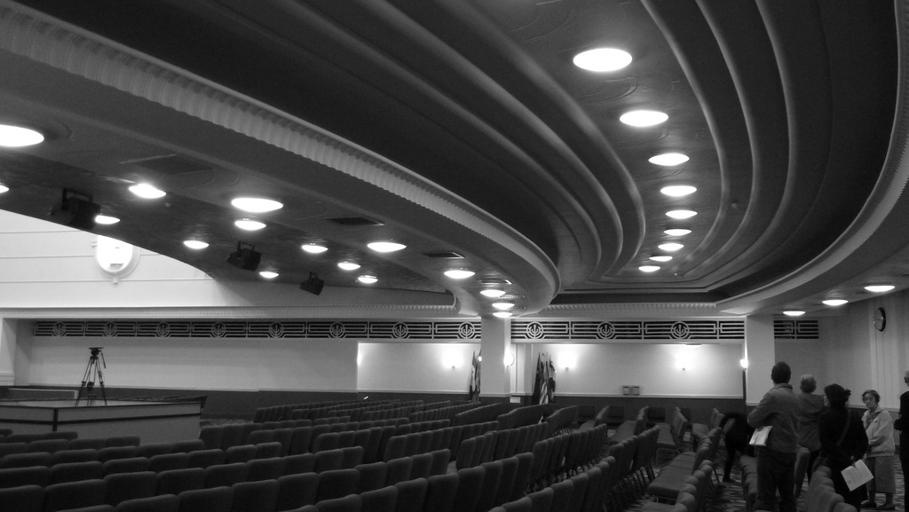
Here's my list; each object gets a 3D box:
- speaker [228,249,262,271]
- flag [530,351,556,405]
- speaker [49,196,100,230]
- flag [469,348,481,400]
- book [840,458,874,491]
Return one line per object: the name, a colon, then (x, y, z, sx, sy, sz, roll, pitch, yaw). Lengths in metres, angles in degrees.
speaker: (-5.036, 0.065, 14.532, 0.589, 0.546, 0.842, 12, -17, -37)
flag: (3.365, 4.659, 22.800, 0.786, 1.980, 0.968, -1, -14, 14)
speaker: (-7.266, -0.804, 11.521, 0.780, 0.675, 0.479, 15, 6, -19)
flag: (0.777, 4.629, 23.100, 0.278, 1.901, 0.694, 5, -14, -13)
book: (6.012, 3.307, 8.961, 0.100, 0.514, 0.543, 33, -22, -6)
